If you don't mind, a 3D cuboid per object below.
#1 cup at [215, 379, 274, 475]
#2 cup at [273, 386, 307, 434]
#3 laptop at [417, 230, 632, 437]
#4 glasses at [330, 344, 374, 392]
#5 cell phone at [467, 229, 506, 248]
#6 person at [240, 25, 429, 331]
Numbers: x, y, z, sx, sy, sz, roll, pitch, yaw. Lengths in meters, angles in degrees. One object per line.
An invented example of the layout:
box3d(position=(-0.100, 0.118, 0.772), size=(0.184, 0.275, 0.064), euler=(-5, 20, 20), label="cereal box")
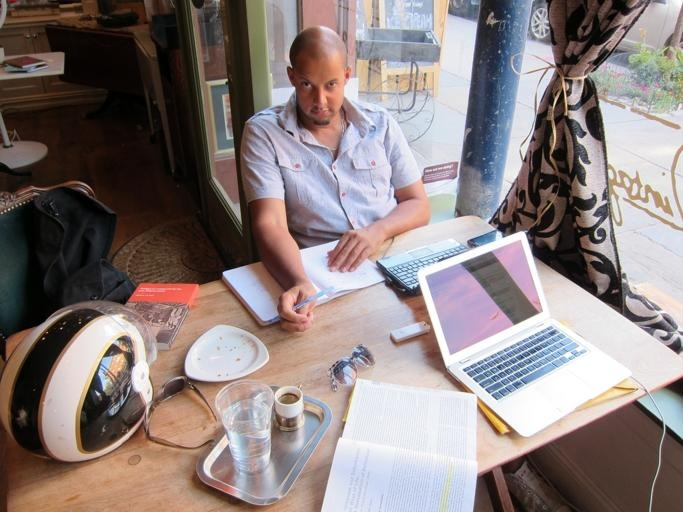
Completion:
box3d(position=(-0.242, 0.401, 1.174), size=(0.155, 0.139, 0.177), euler=(-5, 36, -6), label="cup")
box3d(position=(-0.130, 0.380, 1.219), size=(0.064, 0.075, 0.108), euler=(0, 35, 0), label="cup")
box3d(position=(0.483, 0.328, 1.476), size=(0.492, 0.325, 0.503), euler=(-22, 42, -23), label="laptop")
box3d(position=(0.035, 0.320, 1.366), size=(0.111, 0.051, 0.082), euler=(-43, 34, -11), label="glasses")
box3d(position=(0.510, -0.061, 1.730), size=(0.082, 0.017, 0.150), euler=(18, 34, 40), label="cell phone")
box3d(position=(-0.044, -0.315, 1.884), size=(0.657, 1.072, 0.827), euler=(-11, 46, -13), label="person")
